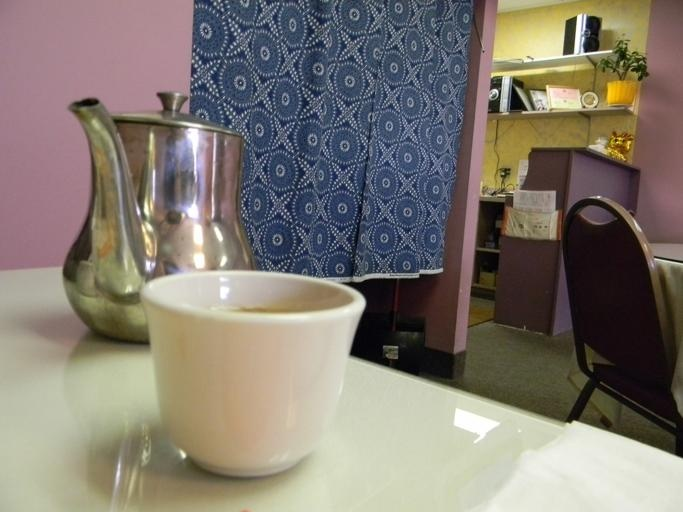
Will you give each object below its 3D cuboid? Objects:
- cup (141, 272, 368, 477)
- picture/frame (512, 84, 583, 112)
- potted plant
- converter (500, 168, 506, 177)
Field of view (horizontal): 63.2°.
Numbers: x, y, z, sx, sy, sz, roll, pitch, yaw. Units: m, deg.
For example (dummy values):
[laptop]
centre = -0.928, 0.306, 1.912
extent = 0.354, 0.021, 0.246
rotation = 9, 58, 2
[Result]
[cup]
centre = -0.051, 0.051, 0.392
extent = 0.127, 0.109, 0.131
rotation = 6, 5, -1
[picture/frame]
centre = 1.707, -1.296, 4.583
extent = 0.397, 0.193, 0.313
rotation = 3, 8, 10
[potted plant]
centre = 2.135, -1.407, 4.269
extent = 0.308, 0.490, 0.367
rotation = -3, 9, -26
[converter]
centre = 1.476, -0.773, 5.080
extent = 0.052, 0.060, 0.057
rotation = 3, 5, 19
